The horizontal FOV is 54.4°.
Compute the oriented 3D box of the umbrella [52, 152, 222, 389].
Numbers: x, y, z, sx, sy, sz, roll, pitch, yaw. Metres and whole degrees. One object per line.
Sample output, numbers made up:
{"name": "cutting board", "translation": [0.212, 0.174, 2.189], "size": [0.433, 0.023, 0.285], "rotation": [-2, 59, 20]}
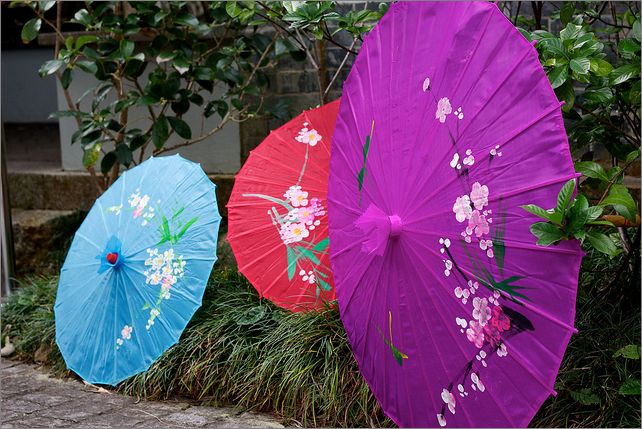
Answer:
{"name": "umbrella", "translation": [-1.213, 0.380, 4.217], "size": [1.222, 1.499, 0.556], "rotation": [7, 10, 29]}

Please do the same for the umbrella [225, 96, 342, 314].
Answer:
{"name": "umbrella", "translation": [-0.271, -0.096, 4.297], "size": [0.758, 1.393, 0.600], "rotation": [2, 8, -4]}
